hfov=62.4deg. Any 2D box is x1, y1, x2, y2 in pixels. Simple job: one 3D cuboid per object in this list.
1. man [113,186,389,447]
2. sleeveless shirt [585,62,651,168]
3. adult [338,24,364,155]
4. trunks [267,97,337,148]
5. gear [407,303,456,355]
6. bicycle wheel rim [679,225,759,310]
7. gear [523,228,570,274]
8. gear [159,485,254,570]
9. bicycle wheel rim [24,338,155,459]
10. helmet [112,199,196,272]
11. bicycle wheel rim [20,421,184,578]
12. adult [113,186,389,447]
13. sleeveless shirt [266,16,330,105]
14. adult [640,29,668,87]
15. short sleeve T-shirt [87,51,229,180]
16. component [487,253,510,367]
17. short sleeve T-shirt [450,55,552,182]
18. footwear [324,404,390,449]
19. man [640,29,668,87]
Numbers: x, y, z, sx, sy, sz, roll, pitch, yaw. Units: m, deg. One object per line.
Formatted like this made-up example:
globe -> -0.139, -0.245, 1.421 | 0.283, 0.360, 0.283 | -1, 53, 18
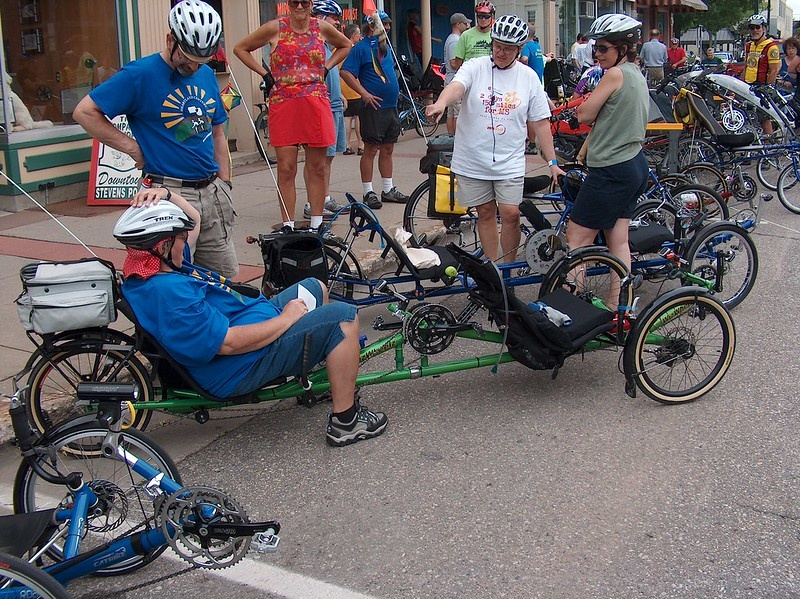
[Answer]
man -> -0.913, 0.078, 4.179 | 1.488, 1.537, 1.061 | -4, 15, -18
sleeveless shirt -> 1.727, -1.490, 5.278 | 0.504, 0.791, 0.382 | -1, 17, 10
adult -> -1.029, -3.850, 12.135 | 0.650, 2.310, 0.651 | 6, 20, 7
trunks -> -1.057, -1.962, 7.269 | 0.772, 0.555, 0.439 | -1, 15, 11
gear -> 0.216, 0.202, 4.548 | 0.408, 0.398, 0.081 | -4, 14, -16
bicycle wheel rim -> 2.742, -0.291, 5.703 | 0.698, 0.697, 0.299 | -7, 17, -18
gear -> 1.247, -0.454, 5.808 | 0.371, 0.364, 0.377 | 13, 26, 27
gear -> -0.851, 1.005, 2.878 | 0.507, 0.511, 0.081 | 1, 8, 4
bicycle wheel rim -> -1.651, 0.521, 3.538 | 0.692, 0.699, 0.139 | 0, 5, -4
helmet -> -1.327, -0.367, 3.618 | 0.380, 0.336, 0.288 | -9, 25, -29
bicycle wheel rim -> -1.419, 0.870, 3.276 | 0.889, 0.864, 0.215 | 14, 13, 6
adult -> -1.127, -0.100, 4.428 | 1.799, 1.816, 1.227 | -9, 23, -26
sleeveless shirt -> -1.057, -2.631, 7.193 | 0.632, 0.889, 0.512 | -2, 6, 1
adult -> 8.356, -7.722, 21.622 | 0.809, 2.317, 0.708 | 3, 37, 21
short sleeve T-shirt -> -1.629, -1.328, 4.792 | 0.525, 0.889, 1.135 | 30, 32, 31
component -> 0.689, 0.111, 4.534 | 0.112, 0.828, 0.357 | -1, 17, 8
short sleeve T-shirt -> 0.880, -1.647, 5.940 | 0.854, 1.077, 0.388 | 0, 17, 12
footwear -> -0.266, 0.757, 4.265 | 0.459, 0.264, 0.174 | -13, 21, -30
man -> 8.367, -7.693, 21.642 | 0.791, 2.227, 0.708 | 10, 41, 30
